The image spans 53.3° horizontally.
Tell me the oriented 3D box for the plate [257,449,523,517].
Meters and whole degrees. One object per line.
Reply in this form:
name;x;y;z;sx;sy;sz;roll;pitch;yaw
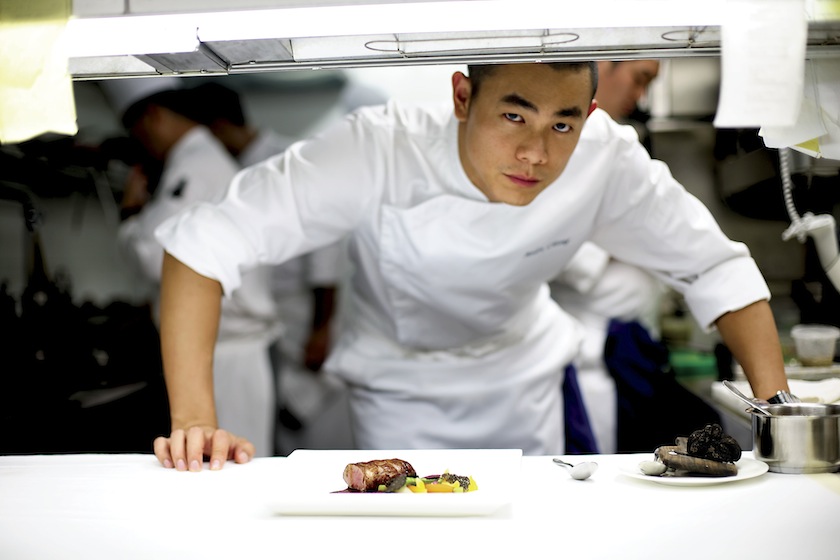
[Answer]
plate;-0.044;0.442;1.917;0.547;0.049;0.331;0;13;4

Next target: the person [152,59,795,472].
person;0.216;-0.100;2.747;1.265;1.532;0.646;-1;38;-8
